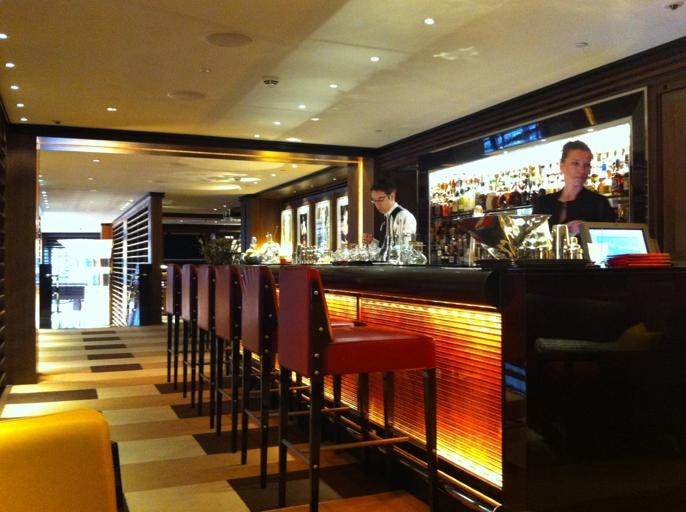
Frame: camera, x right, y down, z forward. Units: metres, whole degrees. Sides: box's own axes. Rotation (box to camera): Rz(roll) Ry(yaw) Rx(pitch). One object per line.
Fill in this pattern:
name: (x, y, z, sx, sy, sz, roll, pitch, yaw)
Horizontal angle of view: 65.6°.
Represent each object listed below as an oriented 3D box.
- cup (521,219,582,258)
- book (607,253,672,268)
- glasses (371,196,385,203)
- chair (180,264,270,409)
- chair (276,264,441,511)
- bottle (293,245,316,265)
cup: (0.979, -0.082, 2.475, 0.282, 0.164, 0.168, -3, 4, -30)
book: (1.353, 0.026, 2.496, 0.147, 0.038, 0.140, 5, -5, -33)
glasses: (0.277, -0.489, 4.601, 0.065, 0.059, 0.182, 0, -1, -27)
chair: (-0.654, 0.568, 3.901, 0.572, 0.909, 0.553, -2, -10, 13)
chair: (0.065, 0.692, 2.879, 0.835, 1.285, 0.912, 0, -1, -9)
bottle: (-0.331, -0.005, 4.501, 0.169, 0.157, 0.166, 0, 1, -20)
